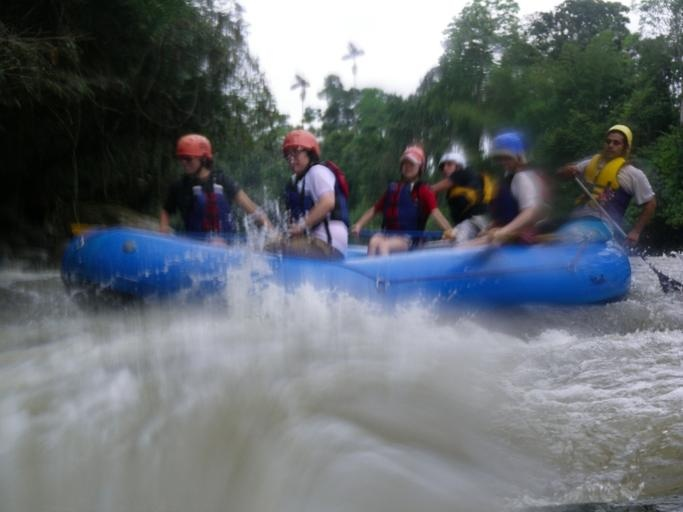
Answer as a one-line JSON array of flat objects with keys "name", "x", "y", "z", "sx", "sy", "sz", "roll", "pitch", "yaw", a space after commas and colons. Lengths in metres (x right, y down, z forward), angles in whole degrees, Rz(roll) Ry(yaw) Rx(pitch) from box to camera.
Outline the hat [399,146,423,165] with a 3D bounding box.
[{"name": "hat", "x": 0.742, "y": -1.013, "z": 6.497, "sx": 0.162, "sy": 0.167, "sz": 0.266, "roll": 1, "pitch": -18, "yaw": 22}]

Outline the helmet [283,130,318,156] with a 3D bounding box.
[{"name": "helmet", "x": -0.348, "y": -0.979, "z": 5.610, "sx": 0.239, "sy": 0.230, "sz": 0.199, "roll": 3, "pitch": 8, "yaw": -24}]

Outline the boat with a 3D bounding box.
[{"name": "boat", "x": 0.046, "y": 0.116, "z": 5.424, "sx": 3.321, "sy": 0.681, "sz": 1.734, "roll": 3, "pitch": -4, "yaw": -13}]

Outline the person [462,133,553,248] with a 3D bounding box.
[{"name": "person", "x": 1.484, "y": -0.559, "z": 6.230, "sx": 0.829, "sy": 1.308, "sz": 0.982, "roll": 2, "pitch": -5, "yaw": 6}]

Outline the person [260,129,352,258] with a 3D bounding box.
[{"name": "person", "x": -0.372, "y": -0.503, "z": 5.651, "sx": 0.790, "sy": 1.231, "sz": 0.827, "roll": -1, "pitch": 2, "yaw": 43}]

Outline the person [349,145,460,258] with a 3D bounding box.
[{"name": "person", "x": 0.591, "y": -0.302, "z": 6.439, "sx": 0.847, "sy": 1.727, "sz": 0.777, "roll": 9, "pitch": -6, "yaw": -19}]

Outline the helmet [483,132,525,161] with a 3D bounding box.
[{"name": "helmet", "x": 1.524, "y": -1.051, "z": 6.007, "sx": 0.288, "sy": 0.262, "sz": 0.226, "roll": -14, "pitch": 15, "yaw": 5}]

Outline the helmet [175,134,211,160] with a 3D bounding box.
[{"name": "helmet", "x": -1.357, "y": -1.021, "z": 5.971, "sx": 0.281, "sy": 0.260, "sz": 0.227, "roll": -16, "pitch": 25, "yaw": -32}]
